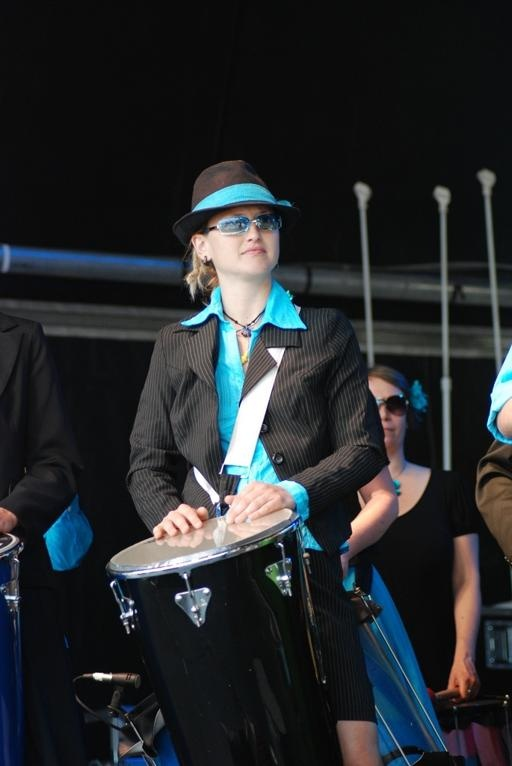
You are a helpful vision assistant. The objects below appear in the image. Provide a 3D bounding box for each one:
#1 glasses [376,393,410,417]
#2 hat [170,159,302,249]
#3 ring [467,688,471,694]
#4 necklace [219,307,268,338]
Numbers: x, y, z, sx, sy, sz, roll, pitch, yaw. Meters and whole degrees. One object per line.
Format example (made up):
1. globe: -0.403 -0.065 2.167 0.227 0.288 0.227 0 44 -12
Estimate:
1. glasses: 0.530 0.085 3.348 0.117 0.111 0.044 1 17 5
2. hat: -0.090 -0.485 2.329 0.221 0.107 0.258 -2 -16 -30
3. ring: 0.731 1.059 3.009 0.016 0.004 0.019 -3 8 7
4. necklace: -0.035 -0.151 2.225 0.110 0.071 0.032 2 1 30
